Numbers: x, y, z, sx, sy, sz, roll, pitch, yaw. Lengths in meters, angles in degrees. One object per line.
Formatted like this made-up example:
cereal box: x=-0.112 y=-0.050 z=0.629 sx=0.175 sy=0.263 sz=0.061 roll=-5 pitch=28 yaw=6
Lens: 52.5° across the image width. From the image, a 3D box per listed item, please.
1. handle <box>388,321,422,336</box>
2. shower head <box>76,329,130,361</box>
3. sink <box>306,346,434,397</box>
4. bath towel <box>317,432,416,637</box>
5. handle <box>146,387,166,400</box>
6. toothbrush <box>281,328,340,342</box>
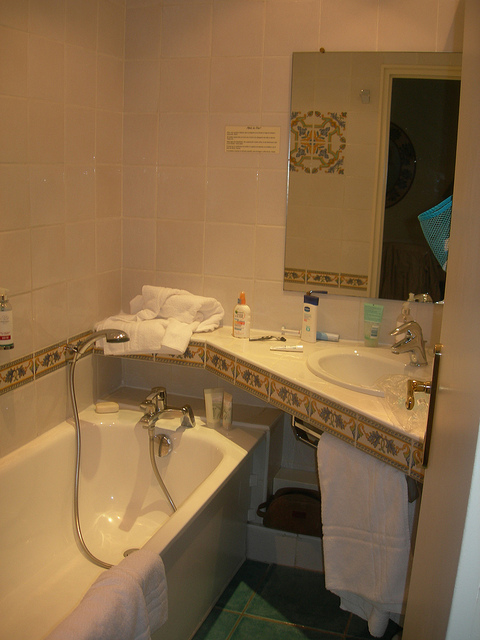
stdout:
handle: x=0.533 y=0.031 z=1.586 sx=0.107 sy=0.050 sz=0.051 roll=-6 pitch=13 yaw=-16
shower head: x=-0.535 y=0.090 z=1.828 sx=0.248 sy=0.116 sz=0.082 roll=7 pitch=14 yaw=30
sink: x=0.445 y=0.140 z=1.720 sx=0.288 sy=0.177 sz=0.311 roll=0 pitch=9 yaw=-15
bath towel: x=0.361 y=0.615 z=1.464 sx=0.302 sy=0.508 sz=0.065 roll=9 pitch=15 yaw=40
handle: x=-0.355 y=0.306 z=1.996 sx=0.081 sy=0.049 sz=0.038 roll=-10 pitch=15 yaw=-31
toothbrush: x=0.299 y=0.066 z=2.107 sx=0.256 sy=0.032 sz=0.040 roll=5 pitch=14 yaw=23
